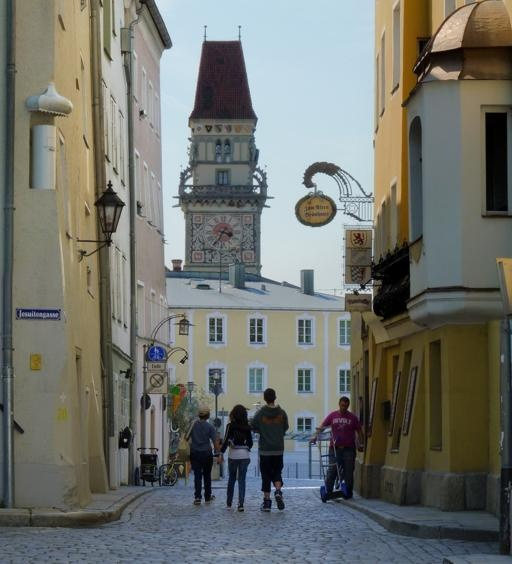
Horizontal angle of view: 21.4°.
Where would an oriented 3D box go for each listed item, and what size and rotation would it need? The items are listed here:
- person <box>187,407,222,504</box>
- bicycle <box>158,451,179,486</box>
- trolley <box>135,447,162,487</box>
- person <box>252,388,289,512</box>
[{"bbox_3d":[-0.832,2.715,21.354,0.414,1.458,0.668,0,-3,7],"label":"person"},{"bbox_3d":[-2.268,4.886,34.956,0.604,1.087,1.427,2,-1,-2],"label":"bicycle"},{"bbox_3d":[-2.640,4.553,33.329,0.457,0.974,0.968,0,-5,-4],"label":"trolley"},{"bbox_3d":[0.199,2.454,19.872,0.535,1.828,0.916,0,-10,0],"label":"person"}]
